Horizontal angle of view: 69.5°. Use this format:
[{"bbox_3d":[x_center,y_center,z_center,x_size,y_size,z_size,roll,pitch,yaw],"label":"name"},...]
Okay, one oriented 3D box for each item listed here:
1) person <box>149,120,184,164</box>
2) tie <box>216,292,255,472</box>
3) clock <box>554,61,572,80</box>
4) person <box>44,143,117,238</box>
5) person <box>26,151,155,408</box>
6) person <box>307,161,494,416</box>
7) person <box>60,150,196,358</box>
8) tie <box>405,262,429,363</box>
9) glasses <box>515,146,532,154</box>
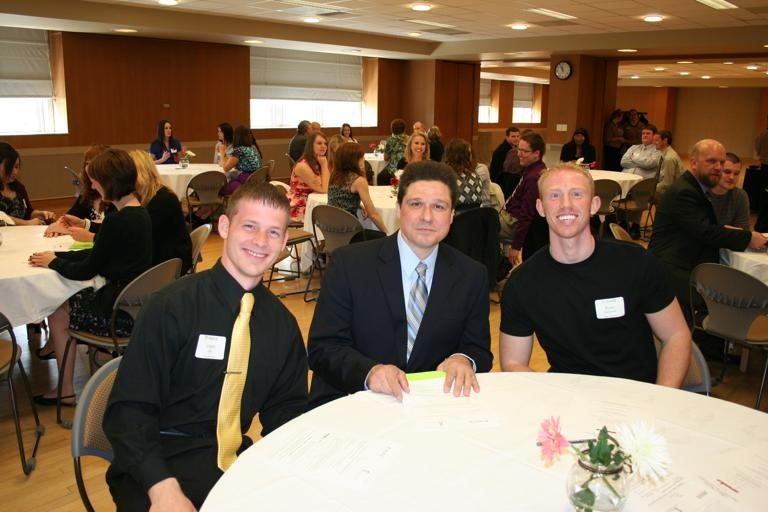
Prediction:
[{"bbox_3d":[-3.482,-1.746,8.865,0.400,0.786,0.499,13,17,40],"label":"person"},{"bbox_3d":[-0.580,0.466,2.126,0.125,0.669,0.036,-3,-16,20],"label":"tie"},{"bbox_3d":[3.830,-3.986,11.825,0.091,0.313,0.301,-10,-24,-42],"label":"clock"},{"bbox_3d":[-2.507,-0.515,4.662,0.473,0.867,0.410,-10,54,-34],"label":"person"},{"bbox_3d":[-1.910,0.185,3.600,0.849,1.744,0.658,4,6,7],"label":"person"},{"bbox_3d":[0.076,0.137,2.419,0.751,1.030,0.622,-15,19,-40],"label":"person"},{"bbox_3d":[-1.960,-0.202,3.905,0.841,1.261,0.965,-11,19,-37],"label":"person"},{"bbox_3d":[0.144,0.231,2.423,0.068,0.468,0.039,8,-7,3],"label":"tie"},{"bbox_3d":[1.357,-1.018,5.316,0.118,0.036,0.123,0,10,-24],"label":"glasses"}]
